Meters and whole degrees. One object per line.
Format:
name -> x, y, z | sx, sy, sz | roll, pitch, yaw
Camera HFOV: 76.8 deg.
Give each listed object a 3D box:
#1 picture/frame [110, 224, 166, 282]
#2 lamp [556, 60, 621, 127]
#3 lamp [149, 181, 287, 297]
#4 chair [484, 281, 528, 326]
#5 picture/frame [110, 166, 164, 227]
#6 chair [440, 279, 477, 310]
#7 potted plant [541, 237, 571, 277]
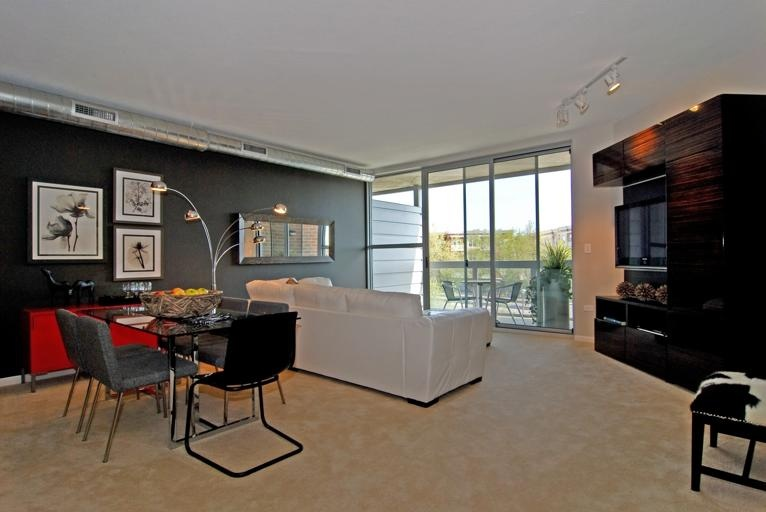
picture/frame -> -3.351, -0.051, 6.539 | 0.028, 0.538, 0.706 | -5, 10, 33
lamp -> 2.389, -1.932, 5.909 | 0.249, 0.496, 1.360 | 10, -8, -16
lamp -> -2.248, -0.281, 6.919 | 1.667, 1.716, 1.625 | 4, 2, 41
chair -> 2.074, 0.777, 8.037 | 0.613, 0.804, 0.632 | 3, 1, 38
picture/frame -> -3.332, -0.800, 6.475 | 0.060, 0.674, 0.859 | -4, 0, 33
chair -> 1.302, 0.654, 8.582 | 0.482, 0.648, 0.521 | -2, 2, -35
potted plant -> 2.750, 0.033, 7.826 | 0.501, 0.538, 0.466 | -3, -4, 19
